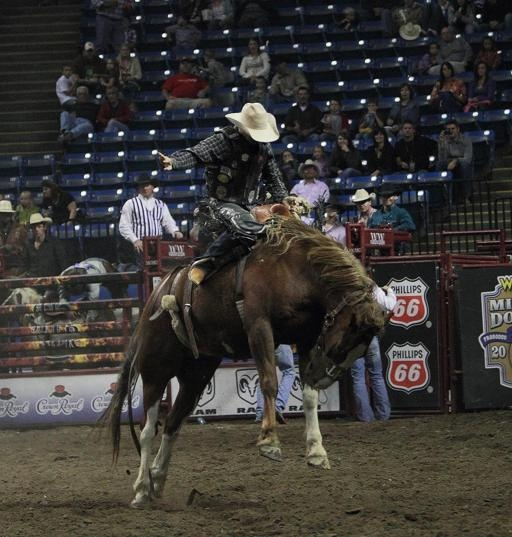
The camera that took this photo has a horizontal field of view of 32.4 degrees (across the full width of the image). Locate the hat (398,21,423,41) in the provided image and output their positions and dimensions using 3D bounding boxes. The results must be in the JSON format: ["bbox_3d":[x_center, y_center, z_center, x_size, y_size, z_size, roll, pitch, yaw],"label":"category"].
[{"bbox_3d":[3.949,-6.138,22.796,0.631,0.442,0.192,-5,-7,21],"label":"hat"}]

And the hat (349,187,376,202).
[{"bbox_3d":[1.686,-1.150,13.961,0.527,0.188,0.518,-12,-2,15],"label":"hat"}]

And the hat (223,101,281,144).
[{"bbox_3d":[-0.038,-1.242,7.525,0.411,0.362,0.429,-3,1,-2],"label":"hat"}]

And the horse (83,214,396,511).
[{"bbox_3d":[-0.172,0.756,7.280,2.317,2.388,0.908,-2,2,30],"label":"horse"}]
